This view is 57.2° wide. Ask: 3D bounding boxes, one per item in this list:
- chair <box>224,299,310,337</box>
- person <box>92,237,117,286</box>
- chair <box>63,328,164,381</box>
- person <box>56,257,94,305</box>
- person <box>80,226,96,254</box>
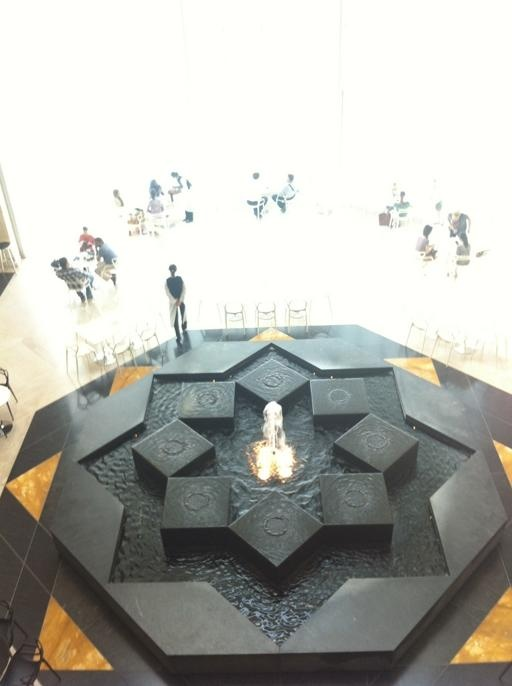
[{"bbox_3d":[0.248,-0.586,10.721,2.031,0.865,1.336,-6,17,0],"label":"chair"},{"bbox_3d":[-3.741,-1.981,11.714,0.468,1.122,0.998,-10,17,-14],"label":"person"},{"bbox_3d":[-3.143,0.063,9.923,1.233,0.643,1.326,1,48,4],"label":"chair"},{"bbox_3d":[-4.284,-1.678,10.922,0.609,1.202,0.462,-14,-25,15],"label":"person"},{"bbox_3d":[-4.579,-2.712,12.656,0.378,0.640,1.087,-12,18,-18],"label":"person"}]
